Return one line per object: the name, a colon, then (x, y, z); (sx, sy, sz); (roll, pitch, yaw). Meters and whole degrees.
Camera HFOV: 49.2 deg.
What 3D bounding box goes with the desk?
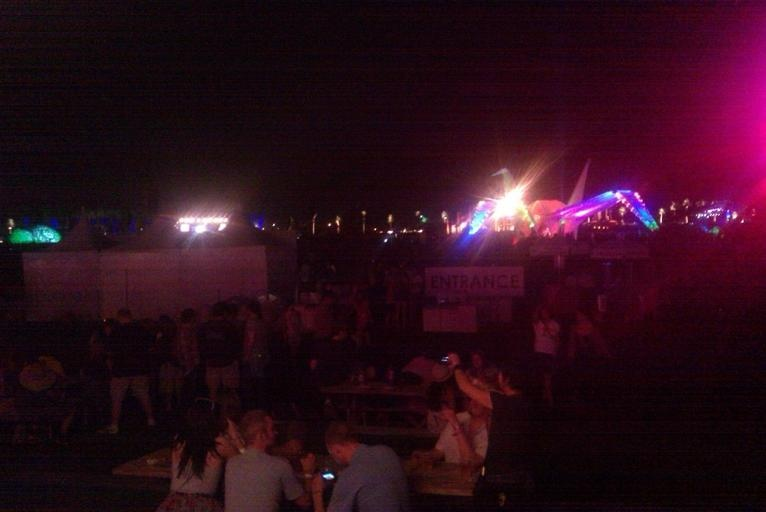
desk: (-1.345, 3.456, 18.146); (7.409, 2.084, 3.903); (1, -1, 9)
